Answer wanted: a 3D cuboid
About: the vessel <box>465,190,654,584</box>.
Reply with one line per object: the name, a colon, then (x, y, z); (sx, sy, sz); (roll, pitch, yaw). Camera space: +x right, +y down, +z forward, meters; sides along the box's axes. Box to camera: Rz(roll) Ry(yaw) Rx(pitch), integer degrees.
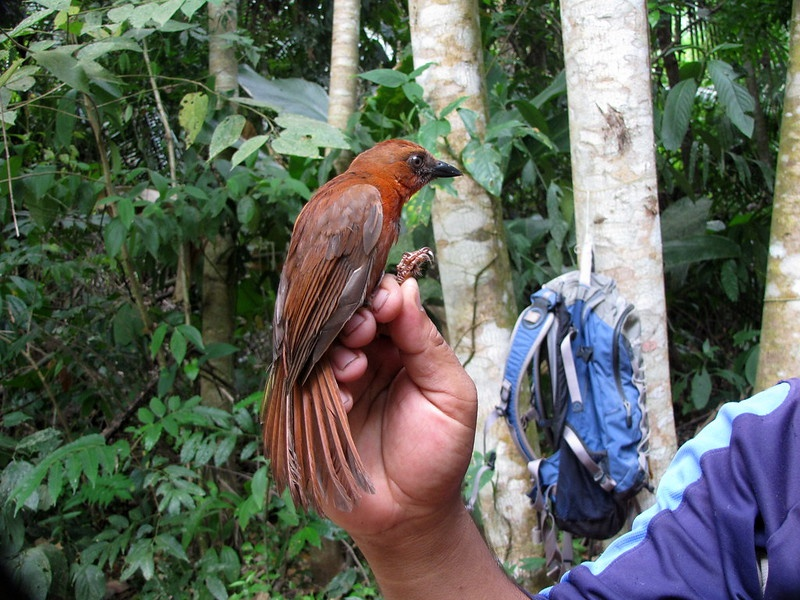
vessel: (0.873, 0.403, 3.848); (0.770, 1.864, 0.638); (0, 4, 5)
